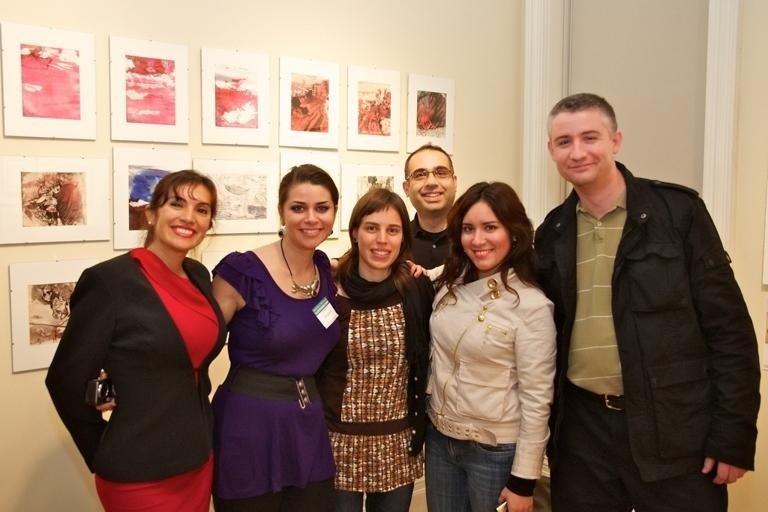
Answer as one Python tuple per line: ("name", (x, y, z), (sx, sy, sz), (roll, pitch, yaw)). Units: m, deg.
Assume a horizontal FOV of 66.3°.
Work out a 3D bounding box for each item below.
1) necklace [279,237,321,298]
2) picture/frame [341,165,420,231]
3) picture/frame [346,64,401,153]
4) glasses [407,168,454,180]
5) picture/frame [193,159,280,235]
("necklace", (-0.549, 0.072, 3.744), (0.238, 0.370, 0.089), (-13, -13, -43))
("picture/frame", (-0.054, -0.460, 4.558), (0.675, 0.485, 0.018), (-2, 2, -28))
("picture/frame", (-0.097, -1.338, 5.324), (0.539, 0.744, 0.023), (-5, 5, -25))
("glasses", (0.366, -0.660, 4.710), (0.356, 0.099, 0.134), (-3, 4, 2))
("picture/frame", (-1.166, -0.475, 4.575), (0.663, 0.583, 0.050), (-5, 10, -29))
